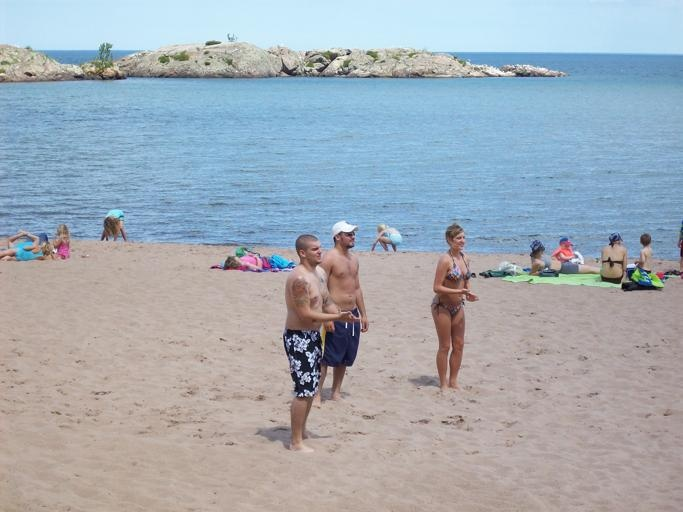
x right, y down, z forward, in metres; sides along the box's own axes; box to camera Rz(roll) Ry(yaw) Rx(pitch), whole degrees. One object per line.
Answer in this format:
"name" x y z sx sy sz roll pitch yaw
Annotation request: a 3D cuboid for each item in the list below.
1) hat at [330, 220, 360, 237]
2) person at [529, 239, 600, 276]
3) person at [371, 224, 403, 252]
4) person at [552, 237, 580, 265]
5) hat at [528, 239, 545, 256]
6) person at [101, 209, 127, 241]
"hat" 0.051 -0.669 31.665 0.615 0.233 0.366 -5 4 15
"person" 6.846 0.140 39.042 2.589 0.898 0.746 3 13 -10
"person" 1.620 -0.580 43.677 1.182 0.776 0.868 10 11 29
"person" 6.887 -0.208 39.548 1.047 0.850 0.656 2 14 17
"hat" 5.856 -0.249 38.764 0.333 0.520 0.642 0 15 4
"person" -7.638 -1.010 43.773 1.104 0.671 1.326 0 -6 -3
